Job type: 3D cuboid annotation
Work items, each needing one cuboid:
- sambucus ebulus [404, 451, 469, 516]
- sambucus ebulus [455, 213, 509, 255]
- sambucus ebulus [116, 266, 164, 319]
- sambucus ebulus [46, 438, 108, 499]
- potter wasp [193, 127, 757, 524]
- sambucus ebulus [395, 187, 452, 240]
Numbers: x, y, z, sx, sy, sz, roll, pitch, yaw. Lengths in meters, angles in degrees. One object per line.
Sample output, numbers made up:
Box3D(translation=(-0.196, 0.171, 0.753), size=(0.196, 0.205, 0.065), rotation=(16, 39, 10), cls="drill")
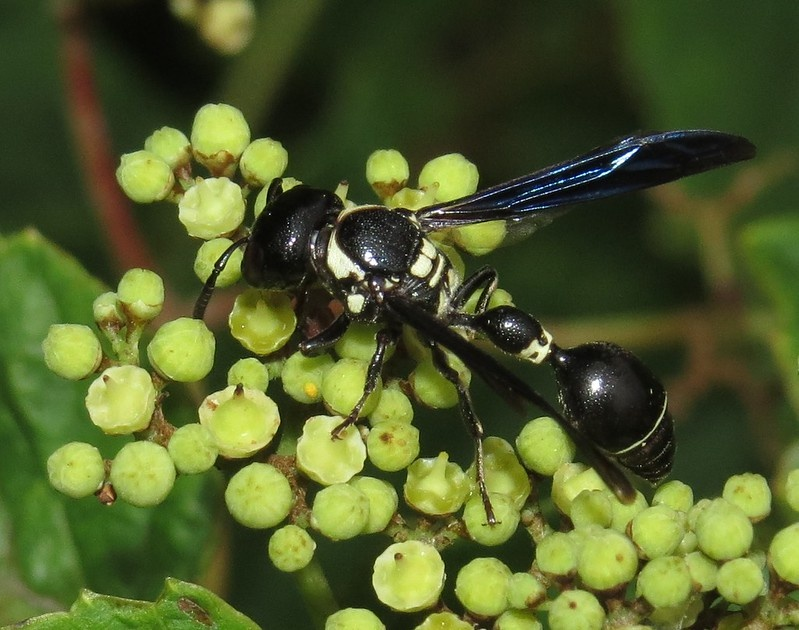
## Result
Box3D(translation=(0.068, 0.317, 2.049), size=(0.123, 0.104, 0.116), rotation=(28, 32, 30), cls="sambucus ebulus")
Box3D(translation=(0.181, -0.181, 2.354), size=(0.097, 0.071, 0.072), rotation=(-9, 3, 4), cls="sambucus ebulus")
Box3D(translation=(-0.487, -0.038, 2.006), size=(0.080, 0.096, 0.055), rotation=(2, -7, -20), cls="sambucus ebulus")
Box3D(translation=(-0.570, 0.267, 1.860), size=(0.102, 0.095, 0.056), rotation=(-6, -5, -15), cls="sambucus ebulus")
Box3D(translation=(0.111, 0.050, 2.328), size=(0.937, 0.463, 0.943), rotation=(14, 34, -1), cls="potter wasp")
Box3D(translation=(0.053, -0.225, 2.302), size=(0.086, 0.123, 0.075), rotation=(-8, 20, -24), cls="sambucus ebulus")
